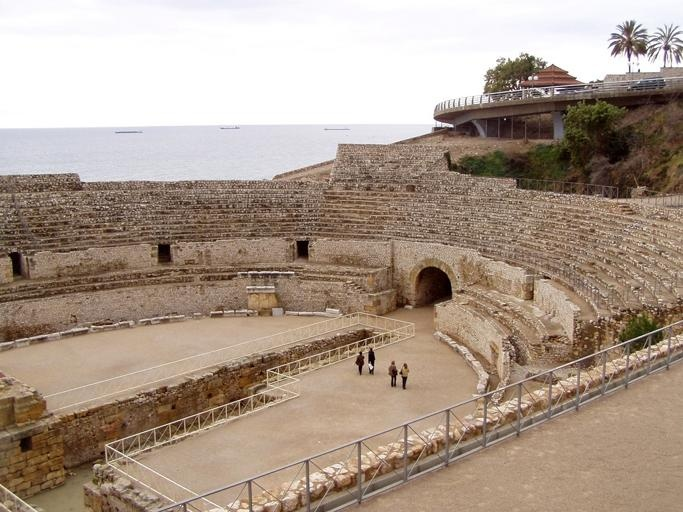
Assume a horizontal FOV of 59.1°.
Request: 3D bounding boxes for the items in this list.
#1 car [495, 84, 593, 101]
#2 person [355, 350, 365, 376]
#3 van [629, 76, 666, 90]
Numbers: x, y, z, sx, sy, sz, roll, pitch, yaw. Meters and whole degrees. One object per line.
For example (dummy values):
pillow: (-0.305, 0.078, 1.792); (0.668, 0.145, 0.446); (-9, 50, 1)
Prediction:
car: (12.896, -10.707, 39.758); (2.306, 0.729, 6.973); (-9, 14, -35)
person: (0.665, 4.073, 22.946); (0.289, 0.815, 0.733); (-2, 13, -1)
van: (18.238, -10.226, 35.917); (2.068, 0.868, 1.163); (7, 18, 27)
